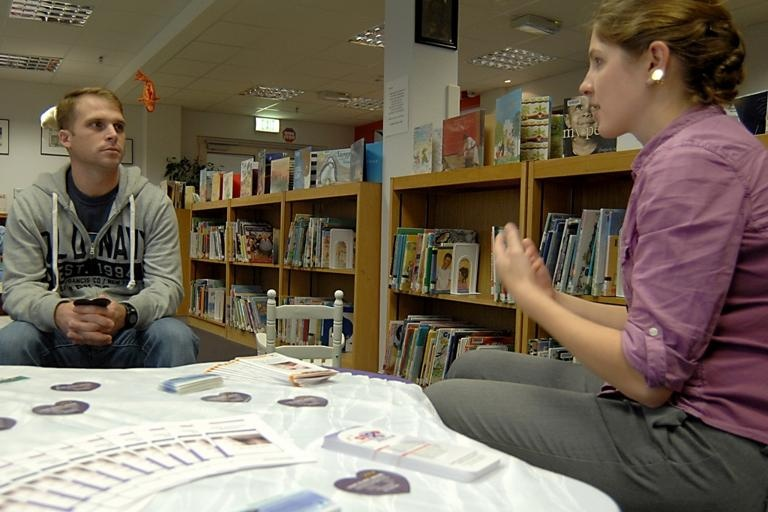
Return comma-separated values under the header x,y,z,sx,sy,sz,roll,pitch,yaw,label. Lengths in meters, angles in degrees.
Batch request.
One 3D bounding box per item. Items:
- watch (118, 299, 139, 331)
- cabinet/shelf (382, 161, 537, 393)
x,y,z,sx,sy,sz,roll,pitch,yaw,label
-1.119,0.271,2.182,0.107,0.109,0.074,3,4,40,watch
0.508,0.372,3.783,0.647,1.964,2.060,-4,10,-6,cabinet/shelf
